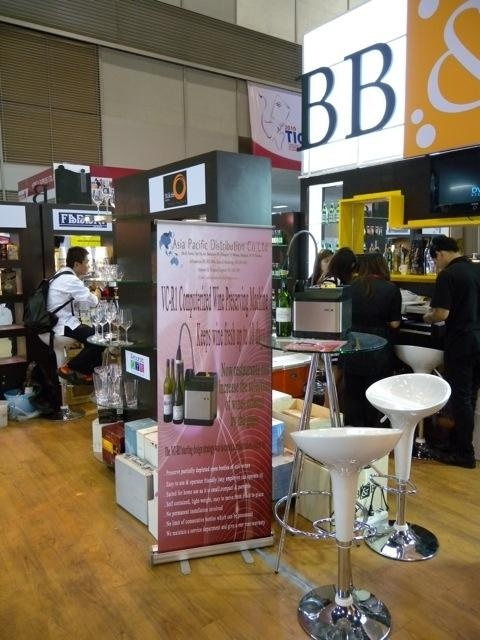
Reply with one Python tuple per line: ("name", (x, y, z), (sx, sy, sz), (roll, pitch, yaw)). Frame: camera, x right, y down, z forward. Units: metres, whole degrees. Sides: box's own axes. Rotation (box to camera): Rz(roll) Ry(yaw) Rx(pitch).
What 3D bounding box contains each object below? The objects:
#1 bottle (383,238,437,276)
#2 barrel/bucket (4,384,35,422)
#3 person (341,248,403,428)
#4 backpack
("bottle", (1.671, -0.602, 4.740), (0.156, 0.454, 0.467), (-8, 13, -25))
("barrel/bucket", (-2.161, 0.820, 4.749), (0.292, 0.244, 0.268), (0, 0, 0))
("person", (0.975, 0.144, 3.689), (0.410, 1.388, 0.414), (8, 27, 25))
("backpack", (-1.805, -0.106, 4.597), (0.414, 0.721, 0.248), (0, 4, 19))
